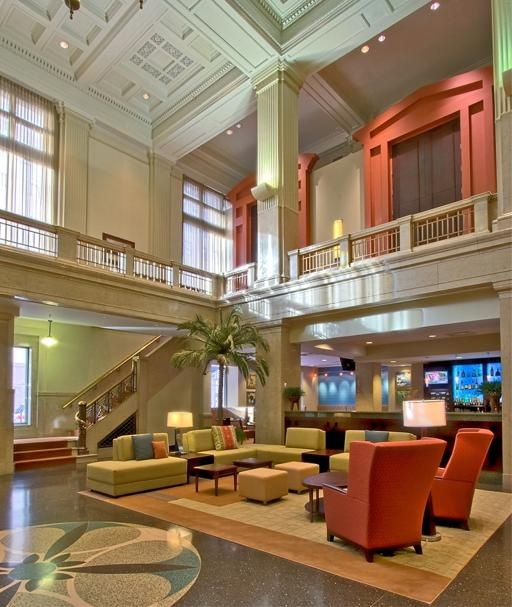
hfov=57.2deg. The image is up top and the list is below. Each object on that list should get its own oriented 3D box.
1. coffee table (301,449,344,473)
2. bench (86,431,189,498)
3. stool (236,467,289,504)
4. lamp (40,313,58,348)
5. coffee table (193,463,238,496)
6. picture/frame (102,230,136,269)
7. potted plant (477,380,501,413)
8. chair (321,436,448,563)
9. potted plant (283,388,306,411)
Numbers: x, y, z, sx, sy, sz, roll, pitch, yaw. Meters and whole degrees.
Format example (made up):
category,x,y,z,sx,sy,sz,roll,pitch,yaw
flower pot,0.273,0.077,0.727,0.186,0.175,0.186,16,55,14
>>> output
category,x,y,z,sx,sy,sz,roll,pitch,yaw
coffee table,1.033,2.584,7.433,0.478,0.447,0.350,-9,-14,41
bench,-1.709,2.331,6.871,0.701,0.753,1.300,-10,-14,39
stool,0.060,2.241,5.948,0.462,0.331,0.461,5,-9,-44
lamp,-4.914,0.715,11.218,0.386,0.630,0.825,3,-12,-24
coffee table,-0.584,2.522,6.745,0.567,0.425,0.574,-12,-15,41
picture/frame,-3.154,-1.220,10.701,0.058,1.214,1.082,-9,-15,30
potted plant,4.069,1.627,8.142,0.245,0.497,0.529,-5,-11,21
chair,1.202,1.573,4.026,0.827,1.122,1.023,4,-11,-26
potted plant,0.811,2.005,9.881,0.362,0.494,0.527,-6,-12,25
